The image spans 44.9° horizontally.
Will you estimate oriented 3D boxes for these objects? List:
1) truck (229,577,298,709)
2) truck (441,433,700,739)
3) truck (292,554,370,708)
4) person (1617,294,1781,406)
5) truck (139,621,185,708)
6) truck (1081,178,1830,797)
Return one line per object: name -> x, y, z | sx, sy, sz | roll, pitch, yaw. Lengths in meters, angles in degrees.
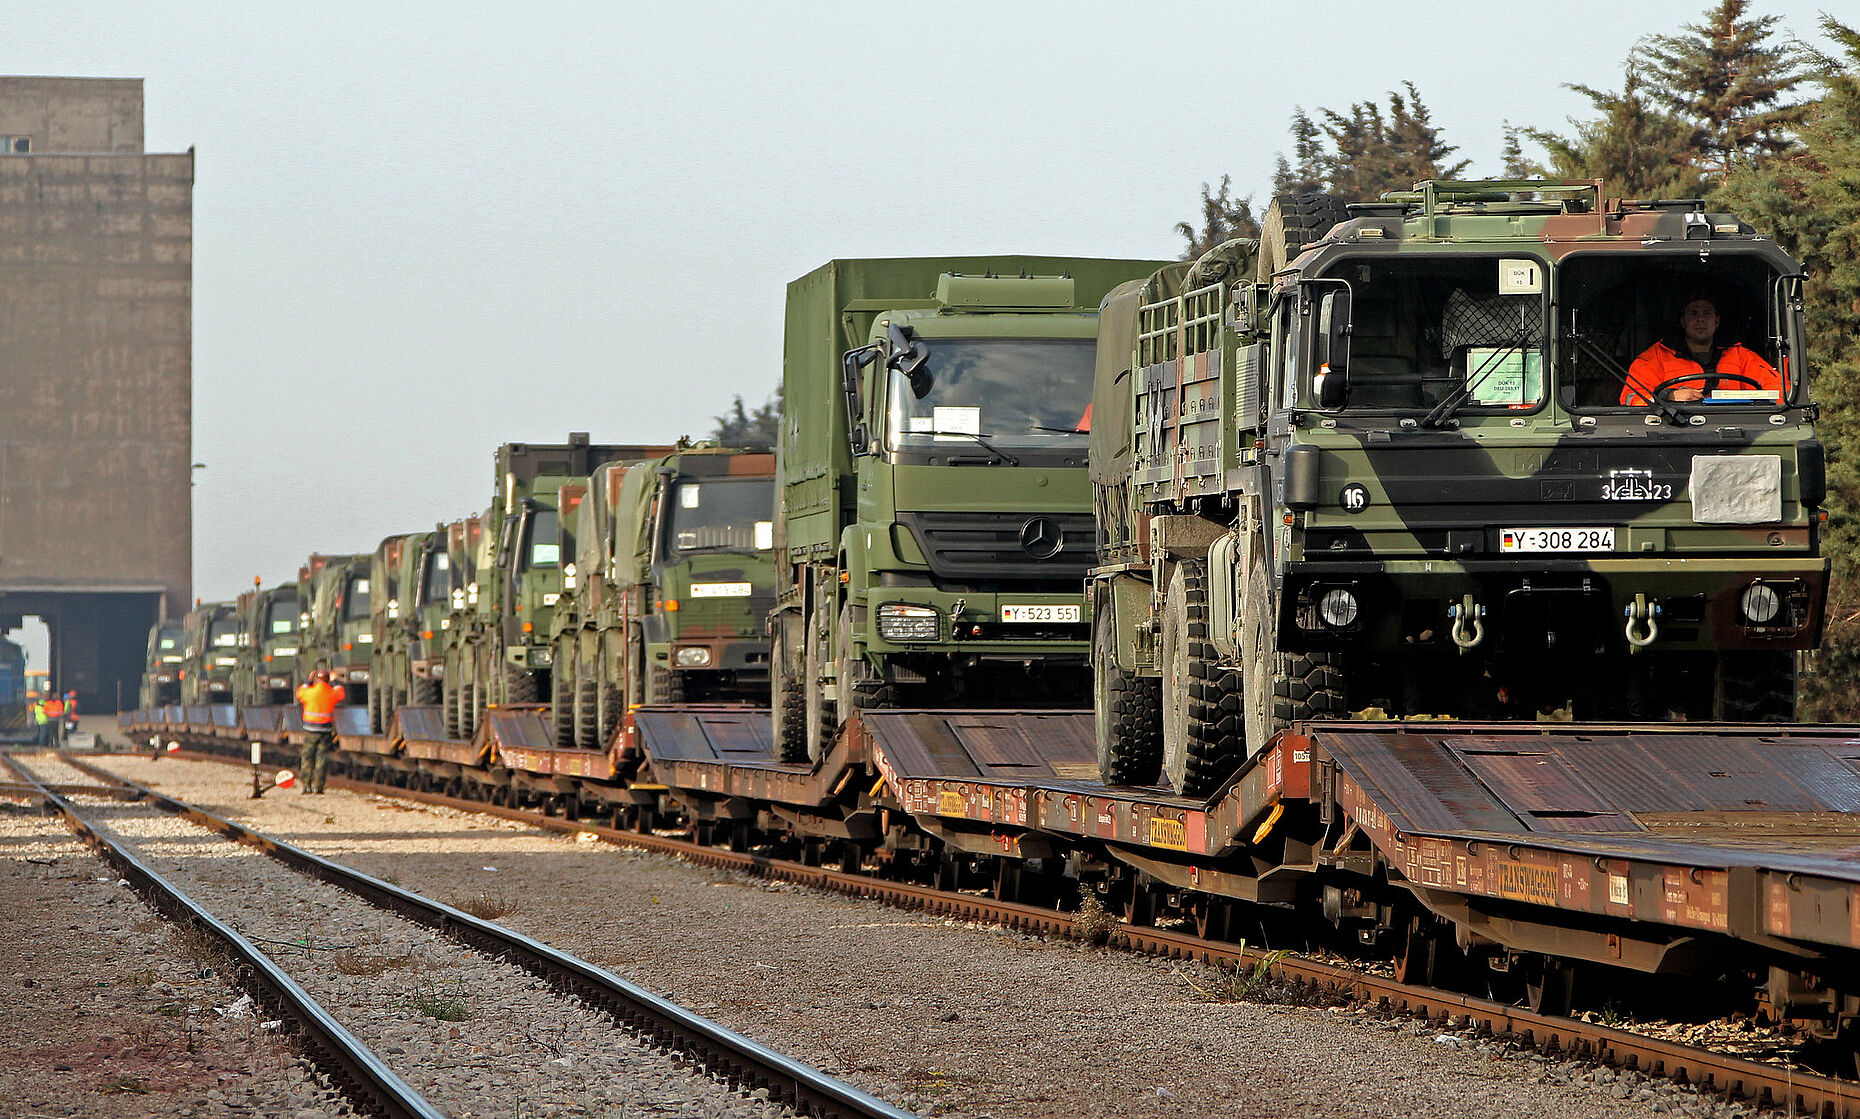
truck -> -20.005, 2.762, 67.910 | 3.142, 3.558, 5.639 | 2, -8, -16
truck -> -4.563, 0.735, 36.696 | 2.765, 4.095, 7.469 | 2, -3, -27
truck -> -15.564, 1.958, 58.915 | 3.228, 3.566, 5.715 | 2, -9, -15
person -> 6.018, -1.519, 17.528 | 1.155, 0.825, 0.656 | -3, 20, 12
truck -> -31.090, 4.293, 91.333 | 1.277, 3.408, 6.772 | 2, -4, -20
truck -> 4.029, -0.491, 20.531 | 3.351, 3.583, 7.001 | 1, -5, -7
